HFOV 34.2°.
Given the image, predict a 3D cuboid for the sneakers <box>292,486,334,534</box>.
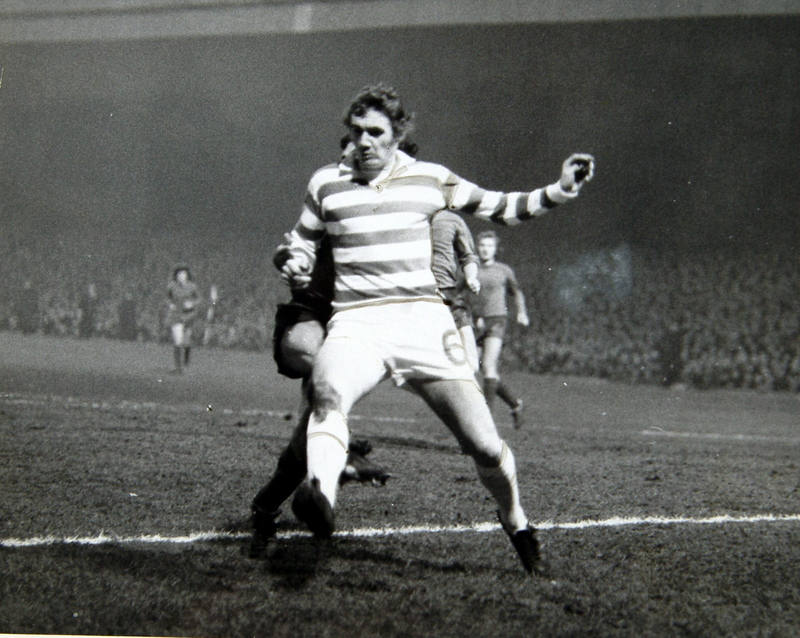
[{"bbox_3d":[-0.325,0.707,4.776,0.074,0.181,0.129,-36,-4,-36],"label":"sneakers"}]
